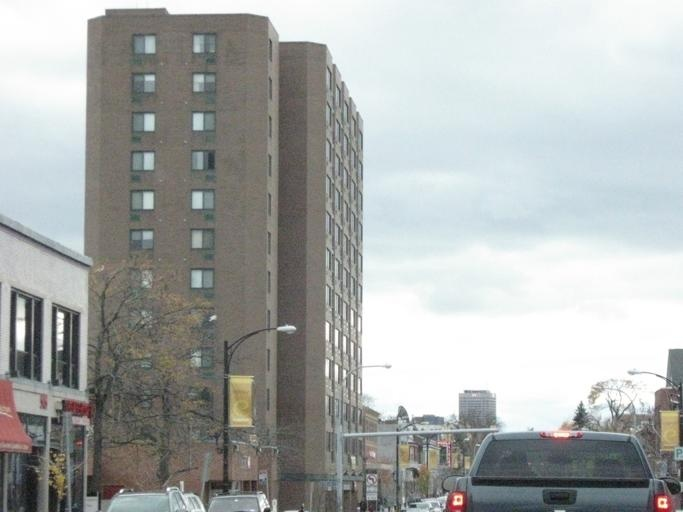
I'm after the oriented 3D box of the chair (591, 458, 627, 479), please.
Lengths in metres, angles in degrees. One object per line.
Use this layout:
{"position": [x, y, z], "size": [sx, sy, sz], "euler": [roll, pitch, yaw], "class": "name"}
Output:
{"position": [10.416, 8.308, 67.732], "size": [1.057, 0.859, 0.625], "euler": [0, -11, 6], "class": "chair"}
